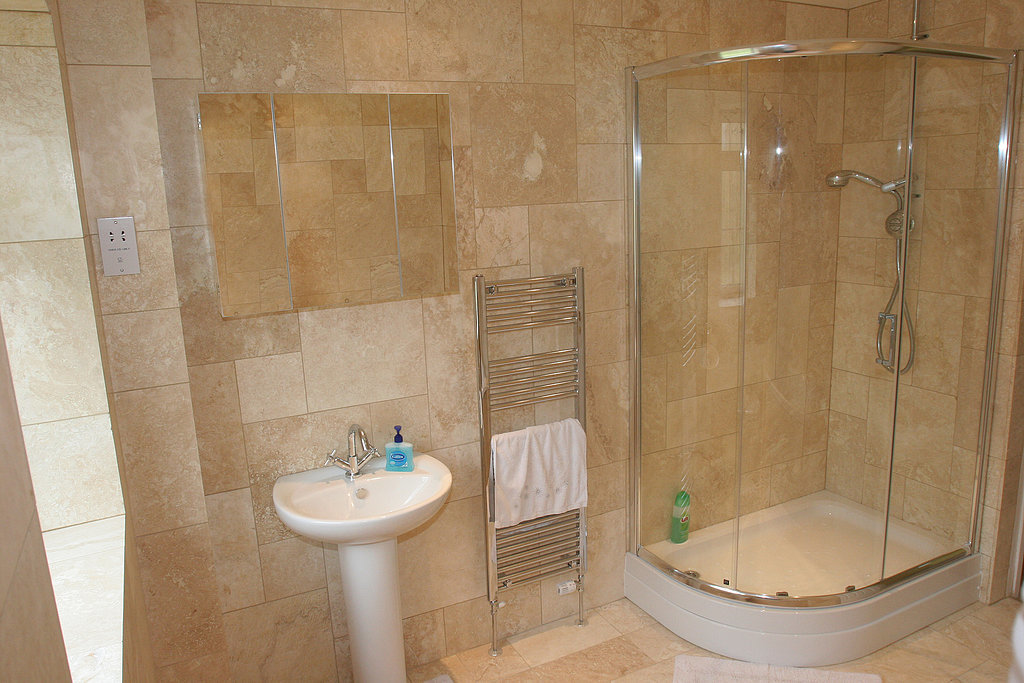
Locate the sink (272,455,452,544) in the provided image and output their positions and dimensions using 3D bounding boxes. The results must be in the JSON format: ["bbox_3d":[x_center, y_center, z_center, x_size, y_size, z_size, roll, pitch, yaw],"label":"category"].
[{"bbox_3d":[-0.629,0.713,3.354,0.743,0.255,0.477,-8,17,-17],"label":"sink"}]

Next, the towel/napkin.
[{"bbox_3d":[0.104,0.616,3.770,0.493,0.458,0.100,-7,16,-25],"label":"towel/napkin"}]

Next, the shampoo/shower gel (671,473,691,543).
[{"bbox_3d":[0.849,0.863,3.943,0.125,0.323,0.041,12,22,41],"label":"shampoo/shower gel"}]

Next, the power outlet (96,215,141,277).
[{"bbox_3d":[-1.502,-0.354,2.981,0.130,0.231,0.023,-8,-14,-22],"label":"power outlet"}]
